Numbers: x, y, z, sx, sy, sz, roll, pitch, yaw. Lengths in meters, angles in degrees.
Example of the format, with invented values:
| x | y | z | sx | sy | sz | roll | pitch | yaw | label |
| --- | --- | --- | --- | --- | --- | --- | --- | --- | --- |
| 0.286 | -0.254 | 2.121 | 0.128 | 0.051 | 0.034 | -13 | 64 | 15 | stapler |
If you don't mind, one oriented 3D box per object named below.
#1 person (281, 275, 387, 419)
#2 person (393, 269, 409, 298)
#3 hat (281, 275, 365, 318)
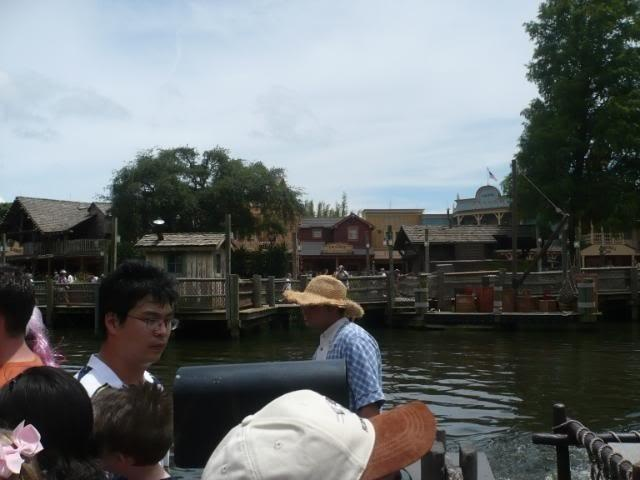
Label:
| x | y | z | sx | sy | sz | roll | pitch | yaw | label |
| --- | --- | --- | --- | --- | --- | --- | --- | --- | --- |
| 0.144 | 0.905 | 7.998 | 0.958 | 2.009 | 1.495 | 0 | -5 | -4 | person |
| 2.629 | 1.441 | 27.968 | 0.550 | 0.712 | 0.759 | -1 | -9 | 4 | person |
| 0.123 | 0.579 | 8.668 | 0.514 | 0.205 | 0.512 | 19 | -5 | -18 | hat |
